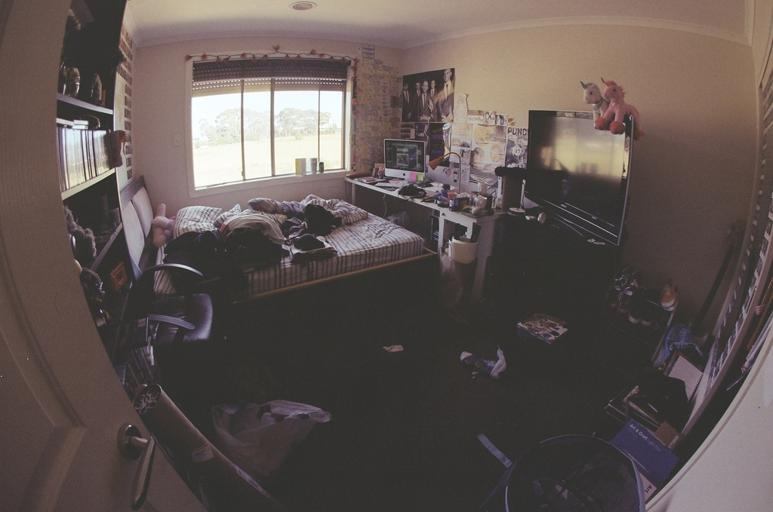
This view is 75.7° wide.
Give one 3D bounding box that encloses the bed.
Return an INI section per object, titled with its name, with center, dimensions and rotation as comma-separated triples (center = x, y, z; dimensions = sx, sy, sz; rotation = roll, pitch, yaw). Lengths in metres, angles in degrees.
[bed]
center = -0.668, -0.083, 3.854
dimensions = 1.605, 0.652, 1.217
rotation = -14, 37, -24

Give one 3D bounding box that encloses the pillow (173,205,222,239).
[pillow]
center = -1.386, -0.260, 3.664
dimensions = 0.311, 0.108, 0.322
rotation = -3, 23, -11

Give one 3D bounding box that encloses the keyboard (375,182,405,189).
[keyboard]
center = 0.039, -0.733, 5.135
dimensions = 0.148, 0.035, 0.139
rotation = 14, 18, 38

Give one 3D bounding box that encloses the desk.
[desk]
center = 1.261, 0.057, 3.506
dimensions = 0.328, 0.608, 0.658
rotation = 11, 15, -35

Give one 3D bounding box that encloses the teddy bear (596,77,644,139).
[teddy bear]
center = 1.505, -0.941, 3.190
dimensions = 0.271, 0.347, 0.279
rotation = 11, 20, 33

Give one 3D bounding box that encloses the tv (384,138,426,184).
[tv]
center = 0.201, -0.983, 5.141
dimensions = 0.386, 0.343, 0.167
rotation = 16, 29, 31
